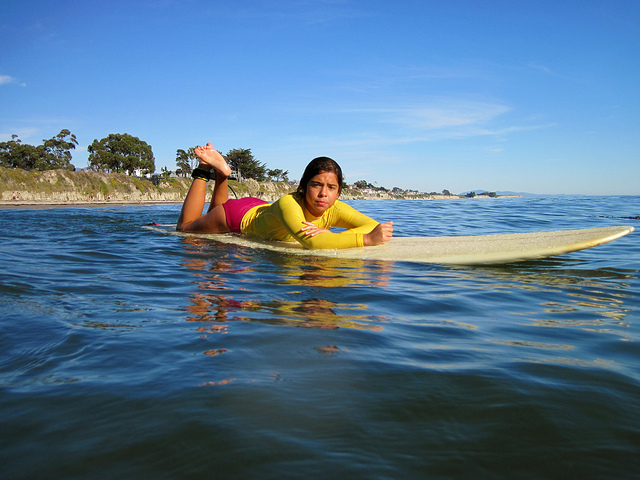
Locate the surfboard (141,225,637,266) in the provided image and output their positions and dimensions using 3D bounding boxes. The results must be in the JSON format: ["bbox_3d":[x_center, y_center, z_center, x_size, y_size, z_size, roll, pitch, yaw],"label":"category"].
[{"bbox_3d":[0.698,0.087,5.817,4.555,0.217,0.601,1,0,27],"label":"surfboard"}]

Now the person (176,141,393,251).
[{"bbox_3d":[-0.683,-0.514,6.739,3.323,0.948,1.508,10,17,37],"label":"person"}]

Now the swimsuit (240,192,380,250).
[{"bbox_3d":[-0.104,-0.259,6.262,1.365,0.674,1.460,1,7,-14],"label":"swimsuit"}]
